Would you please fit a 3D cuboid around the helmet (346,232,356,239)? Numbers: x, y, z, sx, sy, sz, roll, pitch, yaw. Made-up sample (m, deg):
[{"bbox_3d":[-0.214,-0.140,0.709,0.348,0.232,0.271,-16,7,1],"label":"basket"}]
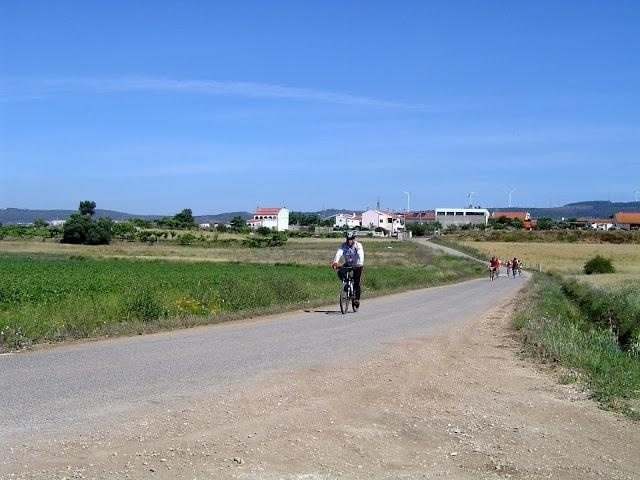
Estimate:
[{"bbox_3d":[0.963,-0.134,17.924,0.208,0.264,0.274,4,21,13],"label":"helmet"}]
